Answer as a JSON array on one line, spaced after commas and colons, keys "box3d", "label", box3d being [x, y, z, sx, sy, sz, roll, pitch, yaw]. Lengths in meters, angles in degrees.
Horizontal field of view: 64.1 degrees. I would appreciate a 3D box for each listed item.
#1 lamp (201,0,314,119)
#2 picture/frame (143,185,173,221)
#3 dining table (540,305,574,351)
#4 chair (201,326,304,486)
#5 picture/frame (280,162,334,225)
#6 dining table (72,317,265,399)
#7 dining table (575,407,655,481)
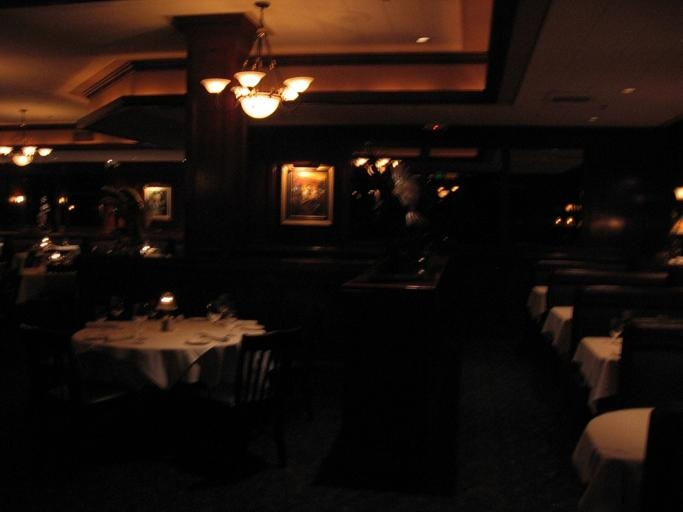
[{"box3d": [-0.714, -1.543, 4.380, 0.781, 0.939, 1.255, -1, 7, -13], "label": "lamp"}, {"box3d": [-1.626, -0.466, 4.827, 0.385, 0.398, 0.030, 0, 2, 6], "label": "picture/frame"}, {"box3d": [1.758, 0.601, 4.486, 0.217, 0.325, 0.461, 3, 7, 21], "label": "dining table"}, {"box3d": [-0.548, 0.870, 3.505, 0.554, 0.950, 0.721, 0, 6, -6], "label": "chair"}, {"box3d": [-0.305, -0.585, 4.982, 0.604, 0.598, 0.081, 1, 3, 17], "label": "picture/frame"}, {"box3d": [-1.179, 0.614, 3.423, 0.734, 0.212, 0.630, 2, 4, 20], "label": "dining table"}, {"box3d": [1.330, 0.917, 2.864, 0.497, 0.236, 0.490, -1, 1, 20], "label": "dining table"}]
